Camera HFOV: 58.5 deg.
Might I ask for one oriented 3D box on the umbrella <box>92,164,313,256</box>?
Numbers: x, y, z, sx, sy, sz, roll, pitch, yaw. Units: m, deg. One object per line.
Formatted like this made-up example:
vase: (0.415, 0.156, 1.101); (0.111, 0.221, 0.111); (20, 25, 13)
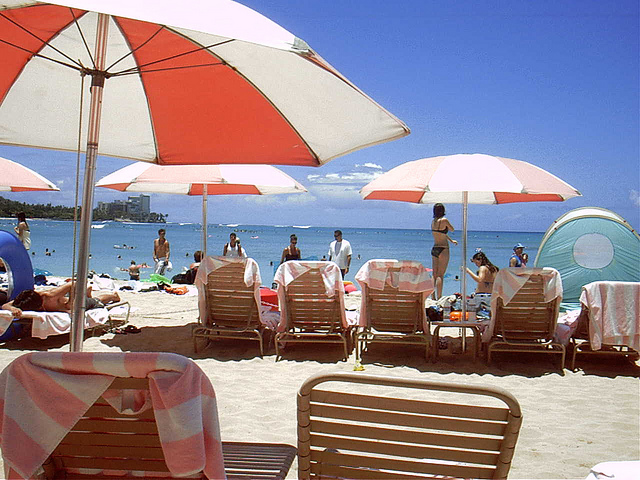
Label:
umbrella: (-1.807, -0.543, 8.774); (1.861, 1.114, 1.976); (17, 15, 43)

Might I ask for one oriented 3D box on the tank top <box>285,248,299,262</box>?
tank top: (-0.576, 0.342, 11.769); (0.219, 0.252, 0.153); (-1, -22, 0)

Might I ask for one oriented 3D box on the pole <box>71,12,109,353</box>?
pole: (-1.548, -0.402, 3.836); (0.108, 2.311, 0.298); (4, -3, -23)

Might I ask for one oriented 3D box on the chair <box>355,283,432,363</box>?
chair: (1.031, 0.981, 7.928); (0.953, 0.979, 1.543); (2, 5, 11)

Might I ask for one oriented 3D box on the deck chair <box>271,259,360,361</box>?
deck chair: (-0.050, 0.923, 7.691); (1.099, 1.268, 0.979); (1, 1, 1)

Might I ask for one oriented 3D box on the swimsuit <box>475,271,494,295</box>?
swimsuit: (2.375, 0.630, 8.338); (0.277, 0.263, 0.259); (-2, 1, 31)

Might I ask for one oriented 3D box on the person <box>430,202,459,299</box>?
person: (1.977, 0.162, 9.173); (0.381, 1.630, 1.037); (2, -2, 11)

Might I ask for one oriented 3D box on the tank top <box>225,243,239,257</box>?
tank top: (-1.795, 0.206, 11.737); (0.274, 0.324, 0.184); (0, -18, -1)

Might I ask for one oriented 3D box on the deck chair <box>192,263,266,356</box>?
deck chair: (-1.137, 0.974, 8.029); (1.093, 1.181, 1.668); (1, -6, 2)

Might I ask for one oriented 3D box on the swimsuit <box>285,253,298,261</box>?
swimsuit: (-0.594, 0.355, 11.761); (0.227, 0.211, 0.121); (-4, -45, -2)

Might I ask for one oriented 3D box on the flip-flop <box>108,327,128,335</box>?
flip-flop: (-2.958, 1.337, 8.438); (0.136, 0.042, 0.144); (8, 8, 41)

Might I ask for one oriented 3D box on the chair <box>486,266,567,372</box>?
chair: (2.694, 1.068, 7.507); (0.995, 1.061, 1.589); (4, -16, 16)
